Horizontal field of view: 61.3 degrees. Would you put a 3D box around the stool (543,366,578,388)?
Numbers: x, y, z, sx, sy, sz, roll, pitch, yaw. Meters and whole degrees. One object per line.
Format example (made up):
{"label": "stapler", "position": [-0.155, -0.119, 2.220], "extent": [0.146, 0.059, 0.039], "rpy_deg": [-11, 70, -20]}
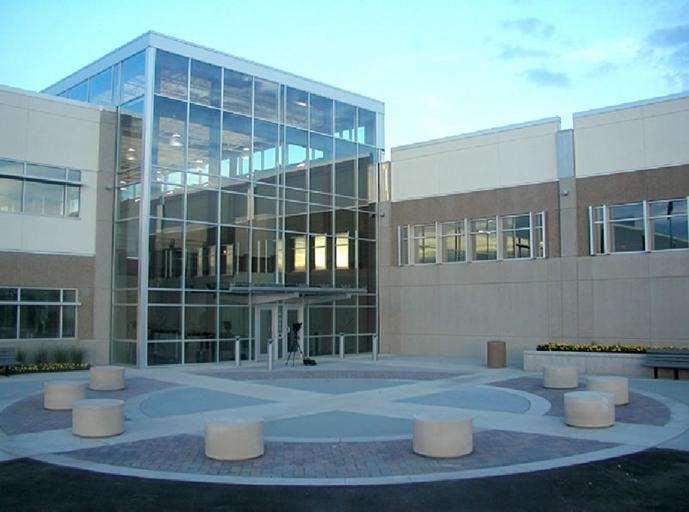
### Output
{"label": "stool", "position": [7.309, 4.071, 19.660], "extent": [0.886, 0.509, 0.839], "rpy_deg": [0, -3, 18]}

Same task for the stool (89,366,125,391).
{"label": "stool", "position": [-7.950, 4.078, 19.494], "extent": [0.955, 0.510, 0.893], "rpy_deg": [1, -2, -2]}

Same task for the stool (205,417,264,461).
{"label": "stool", "position": [-2.274, 3.743, 11.864], "extent": [0.942, 0.443, 0.873], "rpy_deg": [-1, -4, -3]}

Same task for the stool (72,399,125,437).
{"label": "stool", "position": [-5.685, 3.717, 13.426], "extent": [0.940, 0.521, 0.876], "rpy_deg": [1, -3, 1]}

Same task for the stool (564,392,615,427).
{"label": "stool", "position": [5.871, 3.653, 13.869], "extent": [0.974, 0.544, 0.916], "rpy_deg": [3, -5, -22]}
